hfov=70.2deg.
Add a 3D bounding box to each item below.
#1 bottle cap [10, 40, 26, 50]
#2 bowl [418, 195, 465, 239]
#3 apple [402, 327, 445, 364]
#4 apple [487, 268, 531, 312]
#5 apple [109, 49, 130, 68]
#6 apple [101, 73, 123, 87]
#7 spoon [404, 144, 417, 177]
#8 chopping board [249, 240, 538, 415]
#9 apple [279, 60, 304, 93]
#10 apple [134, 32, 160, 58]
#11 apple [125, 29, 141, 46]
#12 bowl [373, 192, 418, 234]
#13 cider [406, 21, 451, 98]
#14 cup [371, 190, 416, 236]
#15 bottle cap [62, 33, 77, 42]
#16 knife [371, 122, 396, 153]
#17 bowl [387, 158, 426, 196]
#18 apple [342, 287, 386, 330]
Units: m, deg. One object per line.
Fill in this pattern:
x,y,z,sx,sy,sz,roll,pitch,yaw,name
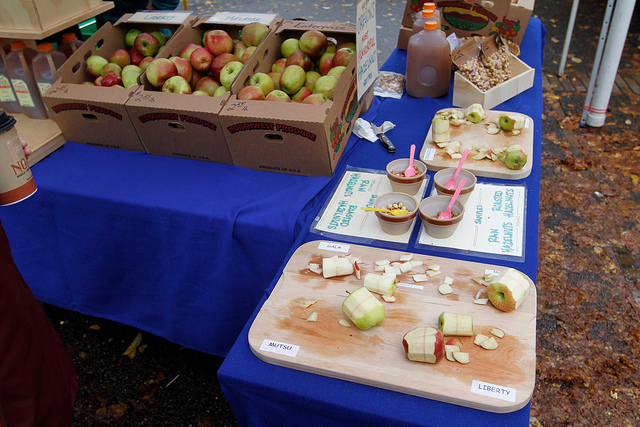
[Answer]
-1.972,-1.099,2.969,0.063,0.029,0.066,2,29,0,bottle cap
0.603,0.010,2.244,0.207,0.144,0.216,-7,45,7,bowl
0.431,0.538,1.877,0.174,0.116,0.111,7,42,4,apple
0.832,0.312,2.060,0.221,0.157,0.200,9,31,19,apple
-1.366,-1.072,3.125,0.125,0.132,0.139,4,63,-18,apple
-1.348,-0.863,2.942,0.073,0.089,0.073,36,20,-30,apple
0.488,-0.291,2.440,0.055,0.026,0.187,4,77,3,spoon
0.328,0.427,2.003,1.192,0.310,0.618,12,43,8,chopping board
-0.176,-0.829,2.772,0.179,0.234,0.177,1,15,-14,apple
-1.198,-1.167,3.190,0.177,0.189,0.182,-3,19,0,apple
-1.350,-1.265,3.302,0.103,0.106,0.108,-8,83,-9,apple
0.387,0.043,2.304,0.172,0.119,0.181,1,12,0,bowl
0.740,-1.020,3.067,0.274,0.442,0.193,10,44,21,cider
0.367,-0.027,2.297,0.210,0.138,0.215,-5,47,6,cup
-1.730,-1.223,3.141,0.063,0.027,0.066,7,28,14,bottle cap
0.391,-0.472,2.811,0.058,0.032,0.296,-15,40,2,knife
0.460,-0.198,2.486,0.192,0.134,0.199,-5,46,5,bowl
0.188,0.420,1.971,0.130,0.098,0.157,-28,51,-31,apple
